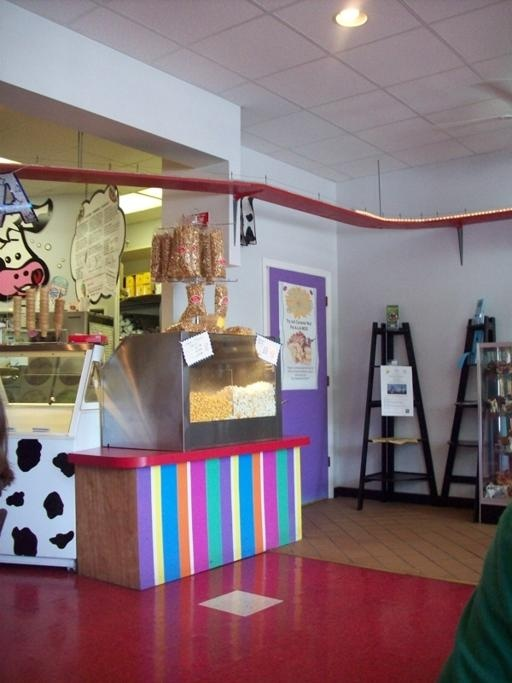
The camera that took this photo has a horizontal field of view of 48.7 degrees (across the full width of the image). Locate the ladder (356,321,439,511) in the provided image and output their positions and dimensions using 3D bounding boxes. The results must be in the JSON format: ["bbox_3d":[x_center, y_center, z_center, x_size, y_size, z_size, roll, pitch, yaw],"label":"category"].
[{"bbox_3d":[1.292,0.746,5.611,0.724,1.869,0.864,0,5,-28],"label":"ladder"}]

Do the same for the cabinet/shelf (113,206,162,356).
[{"bbox_3d":[-1.450,-0.816,6.977,0.503,1.626,1.652,1,5,-11],"label":"cabinet/shelf"}]
